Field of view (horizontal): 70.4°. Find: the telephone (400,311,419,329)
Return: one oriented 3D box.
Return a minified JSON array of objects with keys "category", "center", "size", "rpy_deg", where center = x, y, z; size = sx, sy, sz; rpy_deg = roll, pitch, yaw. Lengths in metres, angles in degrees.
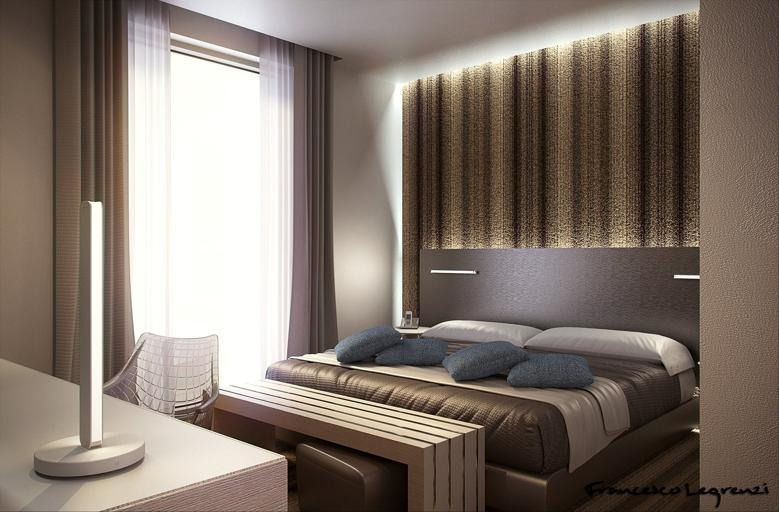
[{"category":"telephone","center":[0.218,0.669,5.824],"size":[0.211,0.188,0.162],"rpy_deg":[-2,-12,7]}]

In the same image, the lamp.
[{"category":"lamp","center":[-0.790,0.244,1.576],"size":[0.315,0.658,0.151],"rpy_deg":[12,2,-10]}]
